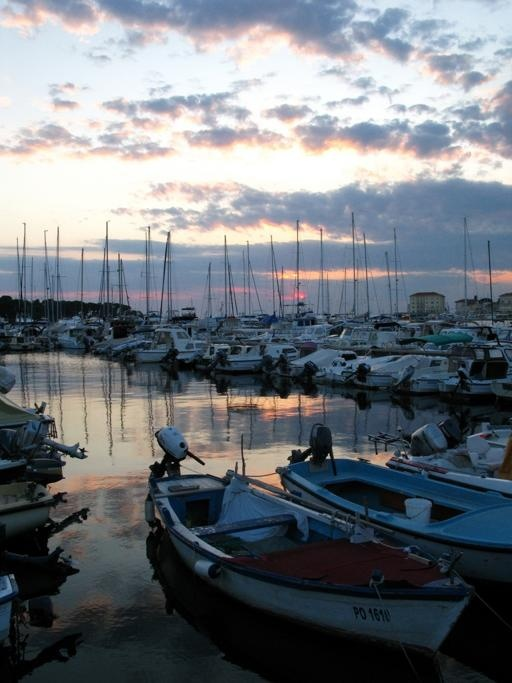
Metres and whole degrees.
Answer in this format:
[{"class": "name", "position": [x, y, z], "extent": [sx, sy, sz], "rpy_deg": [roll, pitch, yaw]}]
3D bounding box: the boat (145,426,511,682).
[{"class": "boat", "position": [0.187, 2.409, 7.856], "extent": [1.662, 1.256, 3.962], "rpy_deg": [2, -1, -27]}]
